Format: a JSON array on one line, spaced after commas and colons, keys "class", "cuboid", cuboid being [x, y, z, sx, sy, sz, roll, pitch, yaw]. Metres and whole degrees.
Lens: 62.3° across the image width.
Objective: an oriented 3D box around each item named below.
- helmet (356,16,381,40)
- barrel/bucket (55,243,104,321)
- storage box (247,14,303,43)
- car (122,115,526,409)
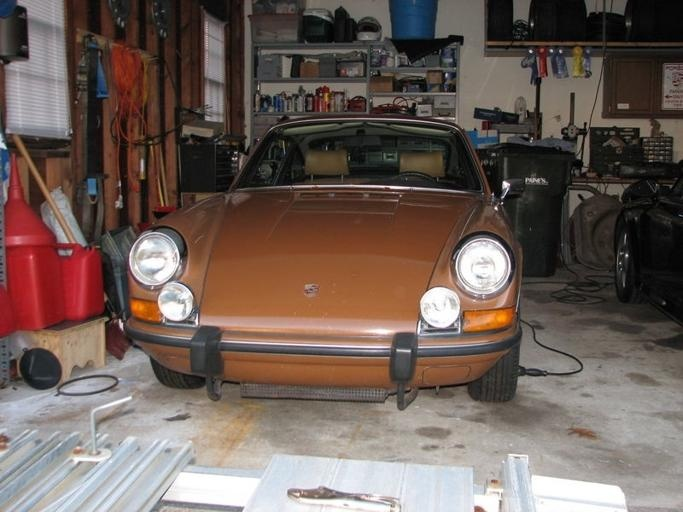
[{"class": "helmet", "cuboid": [0.411, -3.387, 8.528, 0.302, 0.400, 0.304, 3, 9, 8]}, {"class": "barrel/bucket", "cuboid": [-1.644, 0.170, 3.575, 0.231, 0.452, 0.179, -4, 11, -27]}, {"class": "storage box", "cuboid": [-1.008, -3.457, 8.625, 0.580, 0.321, 0.435, 2, 9, 6]}, {"class": "car", "cuboid": [0.091, -0.232, 3.562, 1.441, 1.052, 2.450, 1, 5, 8]}]
